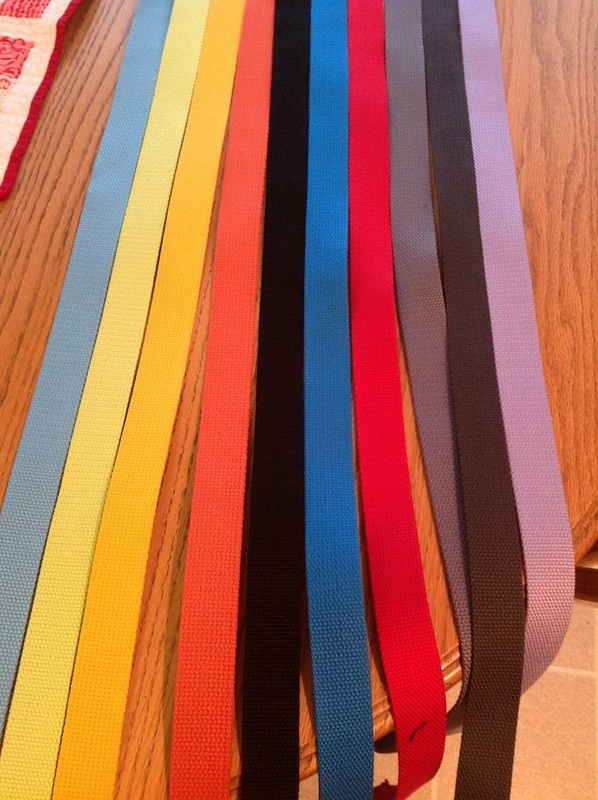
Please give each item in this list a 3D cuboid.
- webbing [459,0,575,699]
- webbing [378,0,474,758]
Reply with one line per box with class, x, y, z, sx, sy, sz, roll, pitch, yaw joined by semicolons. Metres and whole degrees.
webbing;0.182;-0.115;0.663;0.048;0.078;0.597;3;71;-9
webbing;0.102;-0.096;0.690;0.044;0.106;0.792;2;67;2
